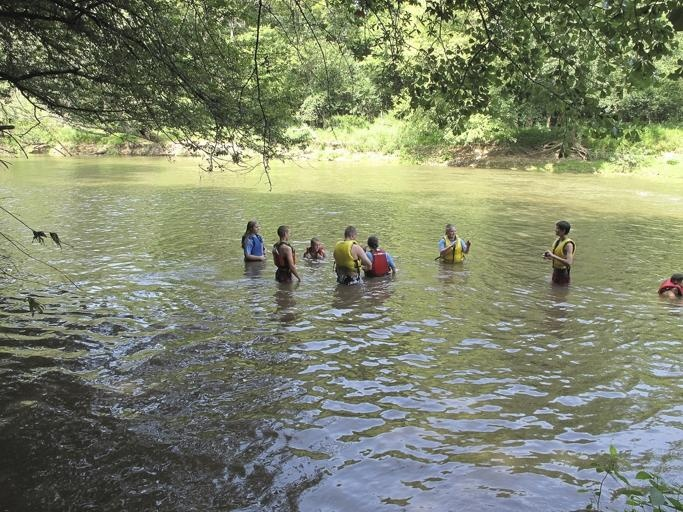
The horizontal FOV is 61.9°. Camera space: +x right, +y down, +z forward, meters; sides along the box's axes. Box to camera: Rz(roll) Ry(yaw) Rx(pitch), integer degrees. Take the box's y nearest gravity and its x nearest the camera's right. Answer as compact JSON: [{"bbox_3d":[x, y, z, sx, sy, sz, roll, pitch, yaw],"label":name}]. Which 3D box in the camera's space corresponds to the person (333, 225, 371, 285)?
[{"bbox_3d":[0.333,-0.026,15.889,1.051,1.564,0.656,-2,9,-9],"label":"person"}]

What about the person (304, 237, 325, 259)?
[{"bbox_3d":[-0.927,-0.235,18.601,0.702,0.679,0.391,1,9,8],"label":"person"}]

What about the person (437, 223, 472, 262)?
[{"bbox_3d":[3.500,-0.135,18.139,1.204,1.425,0.902,0,22,1],"label":"person"}]

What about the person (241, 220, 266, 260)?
[{"bbox_3d":[-2.797,-0.475,18.216,0.671,1.269,0.801,-2,9,-8],"label":"person"}]

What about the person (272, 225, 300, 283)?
[{"bbox_3d":[-1.539,-0.035,15.901,0.726,1.598,1.105,-1,9,-5],"label":"person"}]
